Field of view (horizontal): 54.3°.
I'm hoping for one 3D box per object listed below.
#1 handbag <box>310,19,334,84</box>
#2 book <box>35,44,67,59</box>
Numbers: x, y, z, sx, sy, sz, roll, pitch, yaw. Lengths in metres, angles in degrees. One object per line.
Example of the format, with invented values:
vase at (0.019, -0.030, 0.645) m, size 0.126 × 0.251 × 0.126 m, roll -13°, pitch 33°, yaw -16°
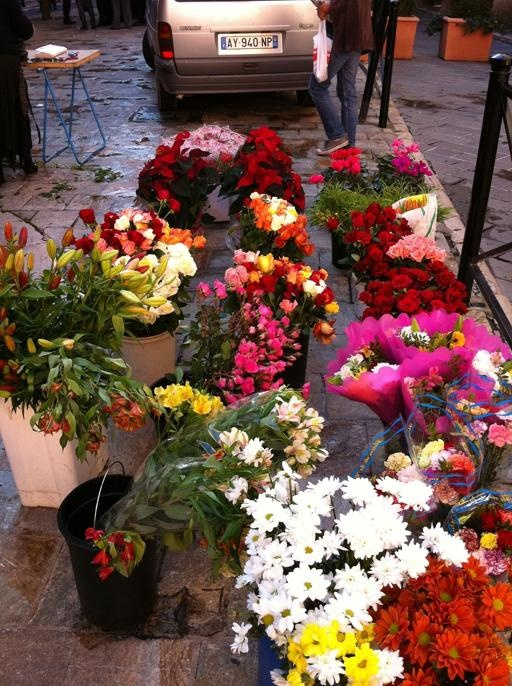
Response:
handbag at (0.667, -2.902, 4.994) m, size 0.180 × 0.530 × 0.371 m, roll 3°, pitch 34°, yaw 5°
book at (-2.164, -3.062, 5.249) m, size 0.307 × 0.100 × 0.445 m, roll -10°, pitch 34°, yaw -14°
